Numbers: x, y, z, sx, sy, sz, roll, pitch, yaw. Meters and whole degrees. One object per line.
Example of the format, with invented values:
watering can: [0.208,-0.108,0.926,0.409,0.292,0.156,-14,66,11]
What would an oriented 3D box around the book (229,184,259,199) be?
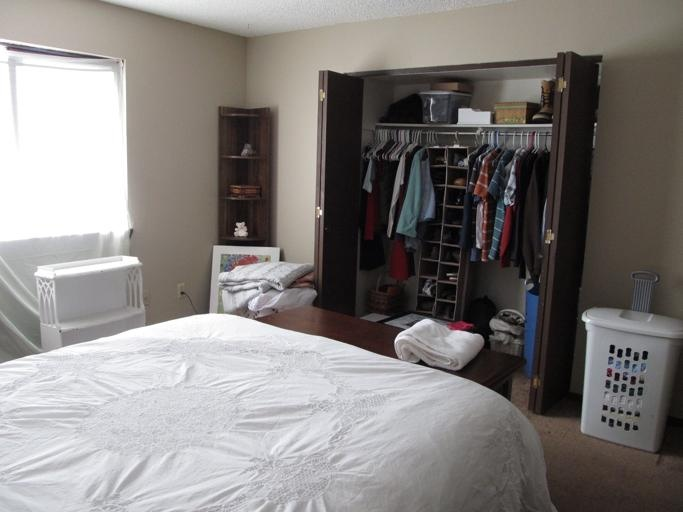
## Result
book: [-0.963,-0.662,5.031,0.271,0.114,0.119,-2,11,-19]

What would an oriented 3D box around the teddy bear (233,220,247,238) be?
teddy bear: [-1.030,-0.298,5.130,0.152,0.166,0.068,-7,-18,22]

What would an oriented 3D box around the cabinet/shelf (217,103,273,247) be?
cabinet/shelf: [-0.974,-0.809,5.097,0.509,1.407,0.336,5,11,21]

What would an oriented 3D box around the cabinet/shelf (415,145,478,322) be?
cabinet/shelf: [0.971,-0.209,4.727,0.529,1.659,0.517,7,12,29]

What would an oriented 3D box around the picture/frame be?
picture/frame: [-0.911,0.220,4.678,0.631,0.802,0.032,1,-1,7]

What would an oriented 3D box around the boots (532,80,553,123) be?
boots: [1.669,-1.286,4.106,0.145,0.366,0.312,5,11,20]

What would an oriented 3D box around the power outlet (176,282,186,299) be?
power outlet: [-1.569,0.326,4.858,0.021,0.216,0.152,3,5,34]

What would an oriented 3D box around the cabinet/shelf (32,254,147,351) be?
cabinet/shelf: [-1.902,0.413,4.038,0.709,0.718,0.500,-10,5,-39]
